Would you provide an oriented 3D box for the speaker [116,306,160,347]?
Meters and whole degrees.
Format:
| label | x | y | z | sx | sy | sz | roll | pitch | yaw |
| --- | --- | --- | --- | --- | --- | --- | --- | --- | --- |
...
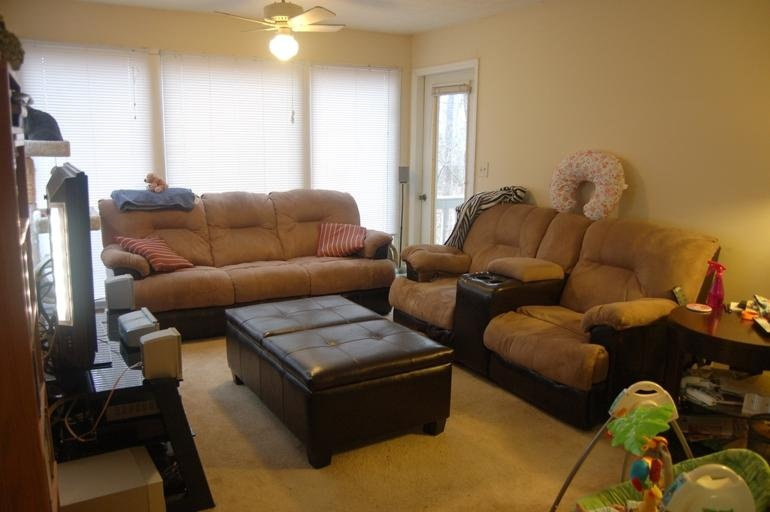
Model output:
| label | x | y | z | sx | sy | sz | roll | pitch | yaw |
| --- | --- | --- | --- | --- | --- | --- | --- | --- | --- |
| speaker | -1.421 | 0.320 | 3.302 | 0.212 | 0.188 | 0.373 | -1 | 16 | -20 |

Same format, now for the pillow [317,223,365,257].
| label | x | y | z | sx | sy | sz | roll | pitch | yaw |
| --- | --- | --- | --- | --- | --- | --- | --- | --- | --- |
| pillow | -0.431 | -0.148 | 5.666 | 0.378 | 0.121 | 0.352 | -4 | 48 | 12 |

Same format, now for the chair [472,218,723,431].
| label | x | y | z | sx | sy | sz | roll | pitch | yaw |
| --- | --- | --- | --- | --- | --- | --- | --- | --- | --- |
| chair | 1.482 | 0.401 | 4.046 | 1.114 | 1.218 | 1.007 | -9 | 15 | -38 |

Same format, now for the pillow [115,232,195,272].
| label | x | y | z | sx | sy | sz | roll | pitch | yaw |
| --- | --- | --- | --- | --- | --- | --- | --- | --- | --- |
| pillow | -2.038 | -0.026 | 5.026 | 0.574 | 0.270 | 0.436 | 6 | 13 | 30 |

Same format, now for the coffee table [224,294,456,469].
| label | x | y | z | sx | sy | sz | roll | pitch | yaw |
| --- | --- | --- | --- | --- | --- | --- | --- | --- | --- |
| coffee table | -0.188 | 0.707 | 3.553 | 0.923 | 0.468 | 1.342 | -2 | 10 | -31 |

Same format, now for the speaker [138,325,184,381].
| label | x | y | z | sx | sy | sz | roll | pitch | yaw |
| --- | --- | --- | --- | --- | --- | --- | --- | --- | --- |
| speaker | -1.196 | 0.508 | 3.124 | 0.258 | 0.326 | 0.228 | -3 | 9 | -32 |

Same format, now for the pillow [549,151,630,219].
| label | x | y | z | sx | sy | sz | roll | pitch | yaw |
| --- | --- | --- | --- | --- | --- | --- | --- | --- | --- |
| pillow | 1.694 | -0.590 | 4.721 | 0.367 | 0.540 | 0.572 | -5 | 12 | -21 |

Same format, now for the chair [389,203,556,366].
| label | x | y | z | sx | sy | sz | roll | pitch | yaw |
| --- | --- | --- | --- | --- | --- | --- | --- | --- | --- |
| chair | 0.980 | 0.168 | 4.769 | 1.346 | 1.262 | 1.589 | 1 | 7 | -27 |

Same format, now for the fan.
| label | x | y | z | sx | sy | sz | roll | pitch | yaw |
| --- | --- | --- | --- | --- | --- | --- | --- | --- | --- |
| fan | -0.955 | -2.105 | 5.030 | 0.711 | 0.159 | 0.618 | -4 | 13 | -38 |
